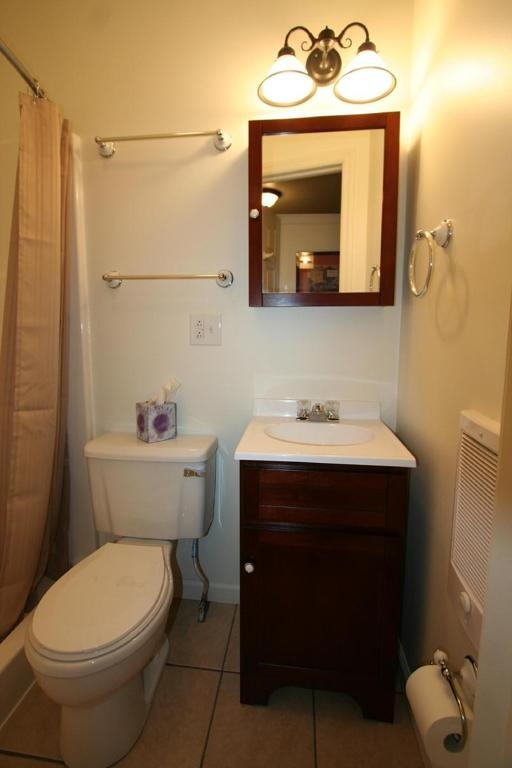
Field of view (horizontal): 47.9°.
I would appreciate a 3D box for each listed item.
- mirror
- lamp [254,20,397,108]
[{"bbox_3d":[0.200,-0.518,1.760,0.438,0.689,0.044,1,-20,6],"label":"mirror"},{"bbox_3d":[0.201,-0.930,1.640,0.346,0.233,0.166,0,-15,2],"label":"lamp"}]
